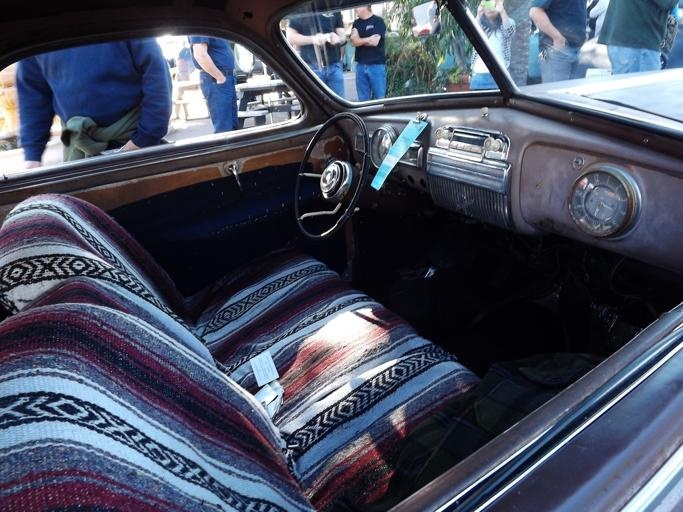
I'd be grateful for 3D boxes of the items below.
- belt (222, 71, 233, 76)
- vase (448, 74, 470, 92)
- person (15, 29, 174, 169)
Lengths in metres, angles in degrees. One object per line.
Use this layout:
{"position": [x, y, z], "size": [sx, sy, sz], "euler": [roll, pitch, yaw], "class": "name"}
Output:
{"position": [-0.533, -0.853, 2.281], "size": [0.035, 0.012, 0.025], "euler": [-9, -24, -44], "class": "belt"}
{"position": [0.477, -0.699, 1.970], "size": [0.056, 0.043, 0.060], "euler": [7, 29, 18], "class": "vase"}
{"position": [-1.036, -0.688, 2.343], "size": [0.750, 0.497, 0.726], "euler": [-5, -22, -14], "class": "person"}
